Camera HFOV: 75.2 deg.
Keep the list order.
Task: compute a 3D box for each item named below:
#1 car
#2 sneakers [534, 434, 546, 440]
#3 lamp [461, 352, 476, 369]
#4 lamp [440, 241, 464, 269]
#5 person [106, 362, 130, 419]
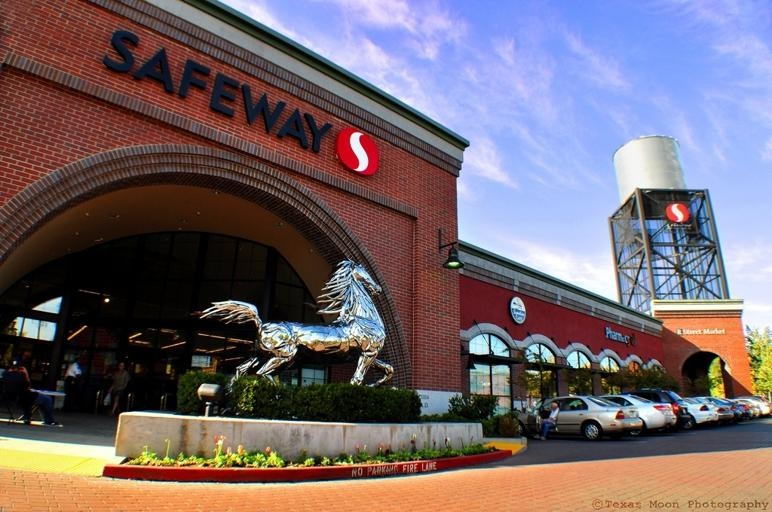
[{"bbox_3d":[8.272,6.279,19.690,5.355,1.611,2.354,-6,-19,19],"label":"car"},{"bbox_3d":[5.979,7.147,19.749,0.553,0.221,0.182,-1,-4,12],"label":"sneakers"},{"bbox_3d":[3.499,4.500,21.488,0.694,0.711,0.784,1,-14,-11],"label":"lamp"},{"bbox_3d":[2.429,-0.019,18.847,0.888,0.957,0.879,16,-33,-32],"label":"lamp"},{"bbox_3d":[-10.052,4.981,18.919,0.659,1.943,1.188,9,-20,-25],"label":"person"}]
